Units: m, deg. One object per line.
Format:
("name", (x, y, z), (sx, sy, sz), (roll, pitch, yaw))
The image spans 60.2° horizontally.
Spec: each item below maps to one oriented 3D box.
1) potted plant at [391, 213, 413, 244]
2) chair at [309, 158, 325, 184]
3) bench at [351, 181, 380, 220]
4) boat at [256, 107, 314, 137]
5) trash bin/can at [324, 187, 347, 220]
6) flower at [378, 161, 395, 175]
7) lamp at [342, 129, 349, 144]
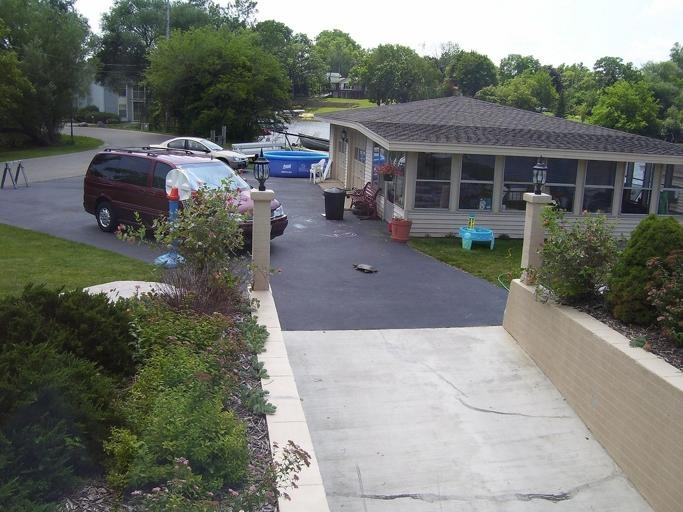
("potted plant", (1.667, -0.690, 16.809), (0.599, 0.711, 0.634), (1, 6, -8))
("chair", (-1.101, -3.984, 28.036), (0.922, 1.508, 1.079), (-1, 12, -9))
("bench", (0.846, -1.789, 19.785), (0.848, 1.206, 0.979), (-9, 30, -38))
("boat", (-4.685, -10.416, 45.721), (2.117, 1.971, 8.646), (5, 15, 6))
("trash bin/can", (-0.243, -1.661, 18.857), (0.928, 1.265, 0.817), (0, 10, -5))
("flower", (1.376, -2.592, 17.734), (0.415, 0.308, 0.421), (3, 2, 44))
("lamp", (0.162, -5.120, 25.170), (0.122, 0.574, 0.366), (0, 5, -17))
